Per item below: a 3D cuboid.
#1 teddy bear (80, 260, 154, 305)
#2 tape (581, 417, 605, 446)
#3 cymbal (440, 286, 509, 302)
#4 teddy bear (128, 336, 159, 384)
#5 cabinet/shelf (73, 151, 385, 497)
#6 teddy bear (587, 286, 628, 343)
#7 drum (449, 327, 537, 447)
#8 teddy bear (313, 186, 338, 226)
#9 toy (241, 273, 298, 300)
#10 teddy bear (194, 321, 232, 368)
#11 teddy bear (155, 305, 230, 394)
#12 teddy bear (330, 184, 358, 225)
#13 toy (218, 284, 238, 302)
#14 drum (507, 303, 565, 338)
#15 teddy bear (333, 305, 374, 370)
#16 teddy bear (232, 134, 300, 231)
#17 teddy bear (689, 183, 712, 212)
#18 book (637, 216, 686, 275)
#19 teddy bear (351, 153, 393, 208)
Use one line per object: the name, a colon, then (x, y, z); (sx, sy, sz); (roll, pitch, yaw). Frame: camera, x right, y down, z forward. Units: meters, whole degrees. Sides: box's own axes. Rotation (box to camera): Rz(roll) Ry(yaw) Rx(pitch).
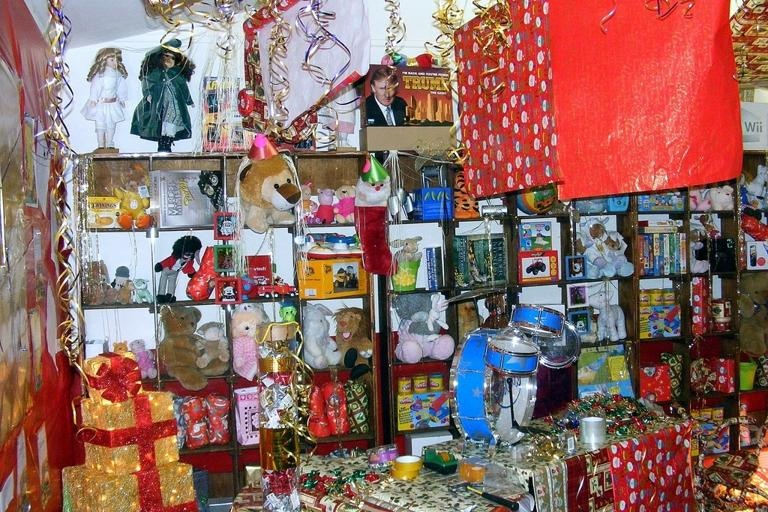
teddy bear: (-1.814, 0.178, 5.149); (0.382, 0.310, 0.268); (-3, -3, 3)
tape: (1.158, 0.964, 4.155); (0.150, 0.141, 0.076); (-5, 4, -12)
cymbal: (0.609, 0.260, 5.227); (0.505, 0.041, 0.385); (-1, 11, 39)
teddy bear: (-1.656, 0.701, 5.232); (0.169, 0.290, 0.148); (-12, 9, 29)
cabinet/shelf: (-1.026, 0.394, 4.755); (2.055, 2.297, 0.745); (-2, 4, -29)
teddy bear: (1.712, 0.433, 5.823); (0.279, 0.438, 0.210); (-2, 4, 17)
drum: (0.591, 0.712, 4.052); (0.465, 0.626, 0.292); (-13, 21, -37)
teddy bear: (-0.423, -0.360, 5.381); (0.187, 0.372, 0.194); (1, -8, -9)
toy: (-0.783, 0.207, 5.181); (0.327, 0.153, 0.151); (-1, 1, -8)
teddy bear: (-1.207, 0.606, 5.287); (0.200, 0.318, 0.166); (-5, -3, -20)
teddy bear: (-1.313, 0.611, 5.223); (0.421, 0.579, 0.443); (-4, 1, -15)
teddy bear: (-0.281, -0.380, 5.527); (0.253, 0.397, 0.210); (-1, 2, -5)
toy: (-1.073, 0.260, 5.192); (0.104, 0.108, 0.114); (-2, 5, -2)
drum: (0.806, 0.342, 3.986); (0.187, 0.086, 0.199); (13, -4, 1)
teddy bear: (-0.209, 0.572, 5.366); (0.215, 0.443, 0.179); (-3, -5, -3)
teddy bear: (-0.759, -0.468, 4.807); (0.463, 0.687, 0.404); (10, 19, 33)
teddy bear: (2.461, -0.448, 5.919); (0.178, 0.199, 0.076); (-22, 10, 6)
book: (2.145, -0.053, 5.838); (0.458, 0.416, 0.142); (-5, 4, -22)
teddy bear: (-0.107, -0.593, 5.352); (0.275, 0.525, 0.334); (-5, 18, -15)
